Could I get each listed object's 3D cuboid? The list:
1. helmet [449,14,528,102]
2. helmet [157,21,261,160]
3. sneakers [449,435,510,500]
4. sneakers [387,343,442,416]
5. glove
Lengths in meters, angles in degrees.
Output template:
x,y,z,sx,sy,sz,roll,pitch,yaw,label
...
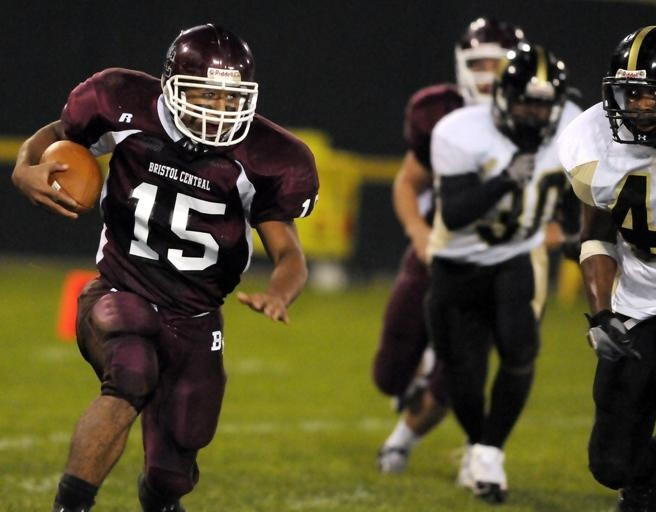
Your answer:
x,y,z,sx,sy,sz,roll,pitch,yaw,label
0.765,-0.942,3.915,0.363,0.380,0.453,5,5,-4,helmet
-0.422,-0.562,2.808,0.315,0.355,0.421,0,36,-23,helmet
0.627,0.870,3.342,0.156,0.199,0.081,10,-22,5,sneakers
0.425,0.597,3.899,0.100,0.311,0.231,42,7,-30,sneakers
0.964,0.274,2.786,0.200,0.156,0.088,30,-18,-9,glove
